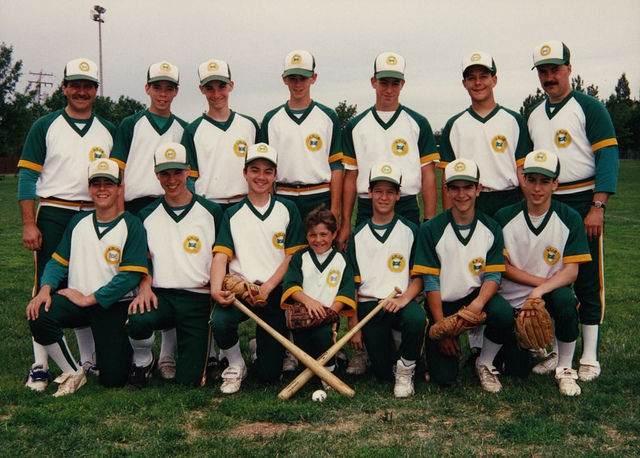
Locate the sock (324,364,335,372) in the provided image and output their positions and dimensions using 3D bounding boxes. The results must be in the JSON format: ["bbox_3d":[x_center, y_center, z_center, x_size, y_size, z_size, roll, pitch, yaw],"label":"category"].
[{"bbox_3d":[0.136,1.789,7.601,0.045,0.106,0.196,0,4,30],"label":"sock"}]

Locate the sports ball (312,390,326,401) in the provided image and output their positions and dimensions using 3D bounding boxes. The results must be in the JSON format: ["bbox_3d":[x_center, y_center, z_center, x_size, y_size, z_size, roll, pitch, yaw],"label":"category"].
[{"bbox_3d":[-0.008,1.984,7.039,0.159,0.083,0.184,-2,3,-2],"label":"sports ball"}]

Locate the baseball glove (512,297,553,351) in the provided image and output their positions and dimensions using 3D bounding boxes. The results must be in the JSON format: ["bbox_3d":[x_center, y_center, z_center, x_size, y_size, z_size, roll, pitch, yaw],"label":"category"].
[{"bbox_3d":[2.597,1.165,7.163,0.447,0.621,0.277,-3,2,10],"label":"baseball glove"}]

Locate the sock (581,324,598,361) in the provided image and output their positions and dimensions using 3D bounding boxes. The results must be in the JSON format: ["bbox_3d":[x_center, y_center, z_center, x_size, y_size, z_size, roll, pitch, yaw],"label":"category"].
[{"bbox_3d":[3.466,1.442,7.578,0.173,0.431,0.175,-1,3,24],"label":"sock"}]

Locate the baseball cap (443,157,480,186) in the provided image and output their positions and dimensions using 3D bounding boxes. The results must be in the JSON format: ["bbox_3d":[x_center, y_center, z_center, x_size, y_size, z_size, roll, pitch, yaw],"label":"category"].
[{"bbox_3d":[1.822,-0.743,7.590,0.418,0.326,0.295,-1,3,11],"label":"baseball cap"}]

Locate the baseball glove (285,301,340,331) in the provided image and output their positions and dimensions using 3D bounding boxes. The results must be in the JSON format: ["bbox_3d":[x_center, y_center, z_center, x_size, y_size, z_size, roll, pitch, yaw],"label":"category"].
[{"bbox_3d":[-0.088,1.115,7.475,0.669,0.380,0.232,-2,3,-4],"label":"baseball glove"}]

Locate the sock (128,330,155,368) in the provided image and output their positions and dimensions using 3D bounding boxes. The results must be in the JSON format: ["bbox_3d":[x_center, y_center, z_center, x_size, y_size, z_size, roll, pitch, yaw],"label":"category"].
[{"bbox_3d":[-2.302,1.558,7.653,0.299,0.440,0.257,-3,3,-20],"label":"sock"}]

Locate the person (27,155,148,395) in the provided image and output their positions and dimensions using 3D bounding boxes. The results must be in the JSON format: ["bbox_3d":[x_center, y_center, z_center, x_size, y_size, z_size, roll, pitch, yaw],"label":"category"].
[{"bbox_3d":[-2.908,0.541,7.539,1.397,2.863,0.670,-3,3,-18],"label":"person"}]

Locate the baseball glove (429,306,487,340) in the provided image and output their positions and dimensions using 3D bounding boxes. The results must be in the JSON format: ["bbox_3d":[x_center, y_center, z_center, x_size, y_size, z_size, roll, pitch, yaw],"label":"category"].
[{"bbox_3d":[1.724,1.191,7.368,0.710,0.453,0.293,-1,3,11],"label":"baseball glove"}]

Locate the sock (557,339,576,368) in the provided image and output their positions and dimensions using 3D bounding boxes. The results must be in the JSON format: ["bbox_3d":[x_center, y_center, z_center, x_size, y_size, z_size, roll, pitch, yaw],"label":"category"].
[{"bbox_3d":[3.093,1.563,7.425,0.194,0.316,0.223,-1,3,22],"label":"sock"}]

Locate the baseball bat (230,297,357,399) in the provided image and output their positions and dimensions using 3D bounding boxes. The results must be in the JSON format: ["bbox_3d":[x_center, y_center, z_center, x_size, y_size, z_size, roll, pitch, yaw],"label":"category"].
[{"bbox_3d":[-0.332,1.517,7.521,1.783,0.180,0.154,37,36,13],"label":"baseball bat"}]

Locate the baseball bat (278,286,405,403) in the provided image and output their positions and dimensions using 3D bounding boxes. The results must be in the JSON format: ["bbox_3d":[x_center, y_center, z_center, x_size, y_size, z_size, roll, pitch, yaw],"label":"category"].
[{"bbox_3d":[0.277,1.446,7.488,1.771,0.184,0.196,-40,28,-9],"label":"baseball bat"}]

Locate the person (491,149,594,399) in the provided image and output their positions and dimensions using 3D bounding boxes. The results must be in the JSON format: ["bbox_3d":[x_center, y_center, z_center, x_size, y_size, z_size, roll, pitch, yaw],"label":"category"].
[{"bbox_3d":[2.835,0.448,7.531,1.140,2.927,1.012,-1,3,18],"label":"person"}]

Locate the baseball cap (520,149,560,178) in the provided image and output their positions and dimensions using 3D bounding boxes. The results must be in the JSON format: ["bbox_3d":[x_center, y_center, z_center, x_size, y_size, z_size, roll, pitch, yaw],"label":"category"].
[{"bbox_3d":[2.822,-0.836,7.517,0.467,0.364,0.282,-1,3,14],"label":"baseball cap"}]

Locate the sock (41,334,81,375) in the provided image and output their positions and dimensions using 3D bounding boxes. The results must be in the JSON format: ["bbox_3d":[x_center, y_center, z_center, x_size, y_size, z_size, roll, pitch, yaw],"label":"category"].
[{"bbox_3d":[-3.329,1.632,7.572,0.226,0.674,0.208,-35,18,6],"label":"sock"}]

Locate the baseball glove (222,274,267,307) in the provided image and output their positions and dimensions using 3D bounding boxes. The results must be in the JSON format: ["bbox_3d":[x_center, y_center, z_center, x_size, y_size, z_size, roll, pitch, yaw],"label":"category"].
[{"bbox_3d":[-0.942,0.725,7.546,0.504,0.230,0.340,18,-21,45],"label":"baseball glove"}]

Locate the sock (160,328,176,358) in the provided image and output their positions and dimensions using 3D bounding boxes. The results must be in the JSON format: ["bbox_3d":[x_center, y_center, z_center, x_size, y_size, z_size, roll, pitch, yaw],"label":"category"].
[{"bbox_3d":[-2.072,1.564,8.084,0.125,0.399,0.257,0,4,39],"label":"sock"}]
